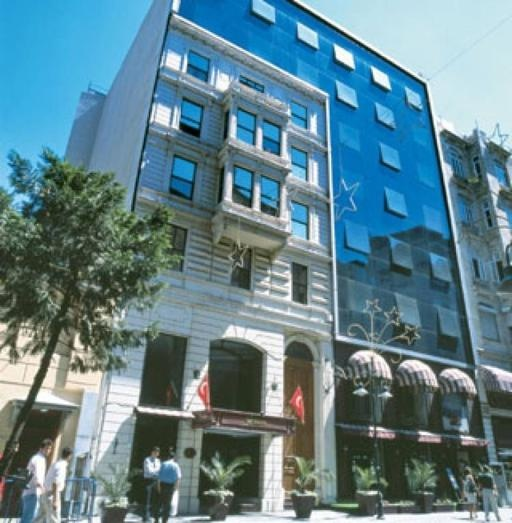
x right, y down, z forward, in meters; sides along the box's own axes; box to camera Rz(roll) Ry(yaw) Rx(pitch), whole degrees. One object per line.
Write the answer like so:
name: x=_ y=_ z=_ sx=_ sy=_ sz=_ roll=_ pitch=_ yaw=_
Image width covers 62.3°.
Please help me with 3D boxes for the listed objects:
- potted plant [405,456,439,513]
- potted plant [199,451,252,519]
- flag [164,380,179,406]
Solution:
potted plant: x=7.890 y=10.696 z=20.345 sx=1.536 sy=2.408 sz=1.706 roll=8 pitch=-38 yaw=-4
potted plant: x=-1.211 y=8.251 z=15.694 sx=1.784 sy=2.255 sz=1.741 roll=12 pitch=-43 yaw=-10
flag: x=-3.441 y=5.368 z=17.363 sx=0.581 sy=0.980 sz=0.058 roll=13 pitch=-26 yaw=-22
